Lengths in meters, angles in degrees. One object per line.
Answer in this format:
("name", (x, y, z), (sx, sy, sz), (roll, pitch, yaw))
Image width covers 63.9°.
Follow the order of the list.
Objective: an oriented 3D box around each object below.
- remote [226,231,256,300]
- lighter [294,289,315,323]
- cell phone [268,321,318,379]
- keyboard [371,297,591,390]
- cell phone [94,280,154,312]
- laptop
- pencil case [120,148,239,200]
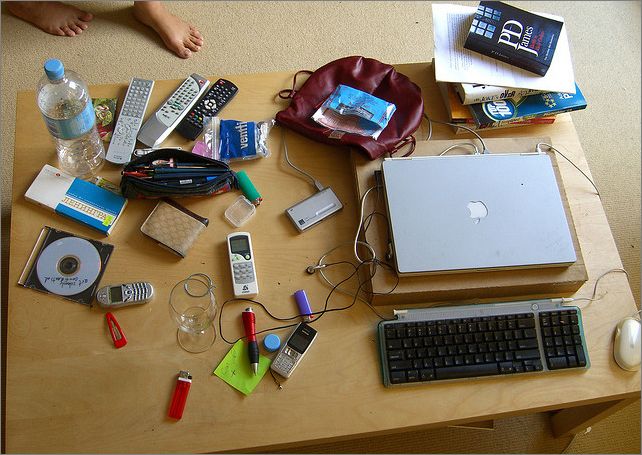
("remote", (-0.251, 0.118, 1.561), (0.087, 0.052, 0.201), (-5, 74, -10))
("lighter", (-0.054, 0.241, 1.587), (0.051, 0.023, 0.094), (-18, 74, -11))
("cell phone", (-0.082, 0.368, 1.542), (0.074, 0.024, 0.172), (33, 68, 5))
("keyboard", (0.481, 0.361, 1.557), (0.345, 0.072, 0.215), (-1, 40, -8))
("cell phone", (-0.600, 0.205, 1.567), (0.161, 0.035, 0.074), (-7, 75, -5))
("laptop", (0.483, -0.040, 1.573), (0.592, 0.100, 0.380), (-6, 76, -6))
("pencil case", (-0.473, -0.166, 1.658), (0.186, 0.044, 0.117), (-18, 47, -23))
